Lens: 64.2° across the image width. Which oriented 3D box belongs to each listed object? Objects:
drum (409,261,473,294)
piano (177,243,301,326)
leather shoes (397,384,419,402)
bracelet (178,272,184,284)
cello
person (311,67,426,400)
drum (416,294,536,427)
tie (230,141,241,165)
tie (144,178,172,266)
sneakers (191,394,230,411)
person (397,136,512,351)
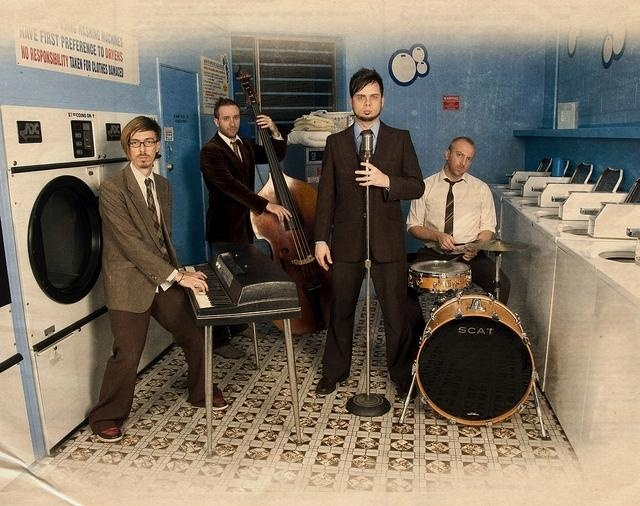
[{"bbox_3d":[0.704,0.148,2.961,0.341,0.158,0.344,0,12,0],"label":"drum"},{"bbox_3d":[-0.482,0.143,2.727,0.498,0.171,0.867,-4,15,-22],"label":"piano"},{"bbox_3d":[0.551,0.865,3.134,0.152,0.045,0.101,2,5,23],"label":"leather shoes"},{"bbox_3d":[-0.715,0.124,2.609,0.028,0.053,0.016,12,-18,-40],"label":"bracelet"},{"bbox_3d":[-0.410,-0.324,3.754,0.345,1.858,0.689,-9,4,45],"label":"cello"},{"bbox_3d":[0.296,-0.072,3.034,0.661,1.923,0.549,2,12,11],"label":"person"},{"bbox_3d":[0.825,0.596,2.668,0.684,0.719,0.330,0,17,3],"label":"drum"},{"bbox_3d":[-0.631,-0.760,3.801,0.025,0.140,0.073,0,0,28],"label":"tie"},{"bbox_3d":[-0.891,-0.180,2.779,0.074,0.395,0.162,-8,1,8],"label":"tie"},{"bbox_3d":[-0.649,0.879,3.065,0.264,0.111,0.116,0,-2,11],"label":"sneakers"},{"bbox_3d":[1.054,-0.044,3.775,0.895,1.487,0.884,7,18,29],"label":"person"}]
